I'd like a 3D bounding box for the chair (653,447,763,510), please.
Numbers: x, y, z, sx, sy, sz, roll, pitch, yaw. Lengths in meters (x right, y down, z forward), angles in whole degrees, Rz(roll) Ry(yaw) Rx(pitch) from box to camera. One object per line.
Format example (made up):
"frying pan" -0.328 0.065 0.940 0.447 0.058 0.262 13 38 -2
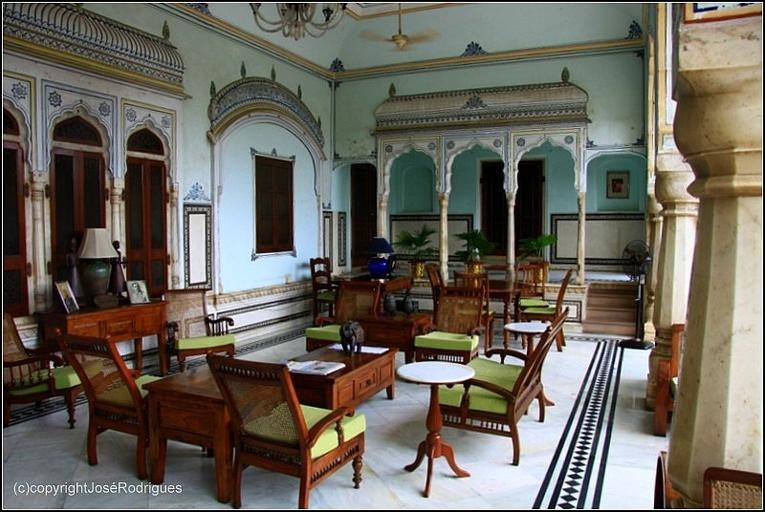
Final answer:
"chair" 1.949 1.390 3.322 0.363 0.352 0.507 4 -13 -22

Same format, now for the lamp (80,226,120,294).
"lamp" -3.615 0.087 7.037 0.469 0.868 0.423 -9 13 -44

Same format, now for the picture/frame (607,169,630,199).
"picture/frame" 5.517 -1.666 12.796 0.717 0.906 0.097 0 -3 20

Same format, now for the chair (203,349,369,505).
"chair" -0.905 1.327 4.938 1.058 1.435 1.400 1 3 30

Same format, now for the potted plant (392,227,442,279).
"potted plant" 0.686 -0.117 12.577 1.312 1.251 1.208 -2 -5 32

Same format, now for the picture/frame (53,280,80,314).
"picture/frame" -3.825 0.518 6.664 0.043 0.422 0.312 -21 7 20

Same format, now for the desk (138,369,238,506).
"desk" -1.515 1.593 5.012 0.928 0.846 0.925 -1 -2 26
